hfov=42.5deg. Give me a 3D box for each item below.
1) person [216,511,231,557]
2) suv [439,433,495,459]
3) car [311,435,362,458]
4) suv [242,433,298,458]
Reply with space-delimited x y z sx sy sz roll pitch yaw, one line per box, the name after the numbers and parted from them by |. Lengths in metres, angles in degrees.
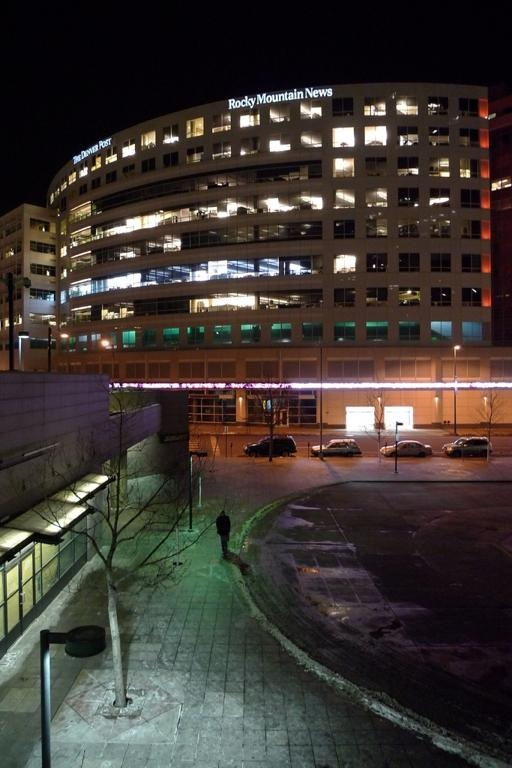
-1.078 4.905 21.718 0.402 1.591 1.531 1 7 -3 | person
13.563 4.114 42.437 2.246 1.250 1.559 2 -2 6 | suv
5.213 4.172 43.180 2.425 0.998 1.416 2 -2 -2 | car
1.045 4.231 44.054 2.801 1.530 1.551 2 -3 3 | suv
